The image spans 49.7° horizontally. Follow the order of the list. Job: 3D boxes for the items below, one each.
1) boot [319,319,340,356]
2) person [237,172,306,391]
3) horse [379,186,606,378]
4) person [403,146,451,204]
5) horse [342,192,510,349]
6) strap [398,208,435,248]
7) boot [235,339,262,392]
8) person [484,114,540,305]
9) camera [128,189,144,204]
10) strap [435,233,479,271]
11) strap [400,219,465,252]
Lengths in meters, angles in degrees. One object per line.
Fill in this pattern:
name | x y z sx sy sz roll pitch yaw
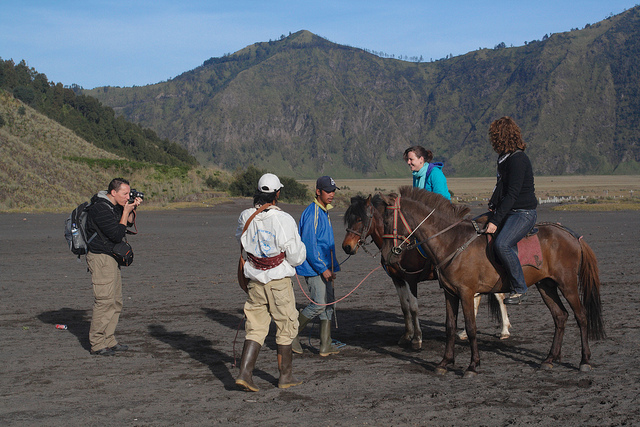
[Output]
boot | 0.199 2.744 15.435 0.470 0.829 0.245 -6 10 -30
person | -0.974 1.416 13.579 1.219 4.291 0.915 -1 8 -3
horse | 3.814 1.373 16.639 4.441 4.106 1.945 0 1 -2
person | 2.503 -0.752 16.390 0.973 1.653 1.004 -6 -10 15
horse | 2.513 1.336 16.161 4.288 3.399 1.225 0 -2 -27
strap | 2.017 0.307 14.658 1.059 0.157 0.119 -43 -24 8
boot | -1.391 2.929 13.556 0.545 0.993 0.613 2 1 -21
person | 3.957 0.042 14.521 1.035 4.078 1.065 1 9 10
camera | -4.124 -0.408 15.516 0.286 0.332 0.117 2 -8 0
strap | 2.852 0.830 14.401 0.969 0.202 0.149 -39 -15 -10
strap | 2.373 0.449 14.607 1.189 0.180 0.151 -27 -19 16
